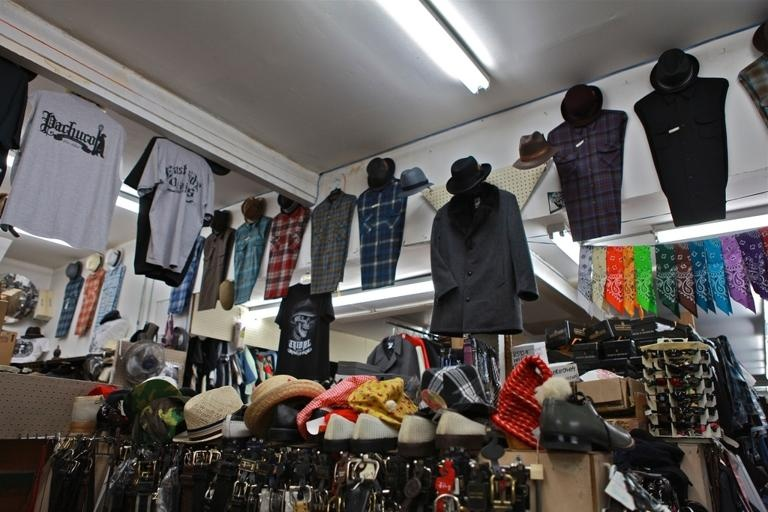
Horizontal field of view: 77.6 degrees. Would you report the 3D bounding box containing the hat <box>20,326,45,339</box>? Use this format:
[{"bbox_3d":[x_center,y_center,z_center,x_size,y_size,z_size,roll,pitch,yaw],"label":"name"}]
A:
[{"bbox_3d":[-5.495,1.195,7.466,0.235,0.110,0.283,8,-6,-41],"label":"hat"}]

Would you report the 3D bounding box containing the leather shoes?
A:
[{"bbox_3d":[0.919,0.727,2.042,0.499,0.226,0.187,10,-19,-22],"label":"leather shoes"}]

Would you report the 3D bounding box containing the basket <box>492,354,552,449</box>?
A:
[{"bbox_3d":[0.636,0.672,2.230,0.291,0.421,0.145,-10,-20,27],"label":"basket"}]
